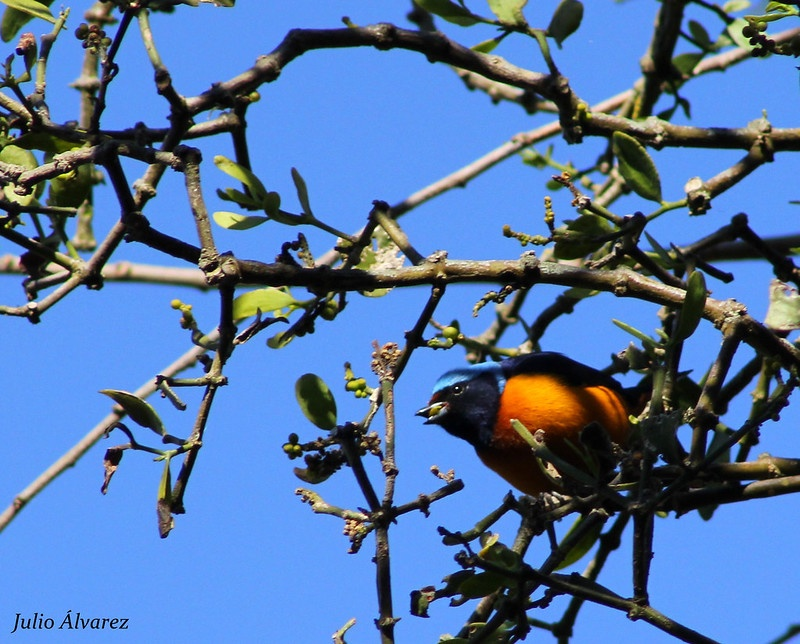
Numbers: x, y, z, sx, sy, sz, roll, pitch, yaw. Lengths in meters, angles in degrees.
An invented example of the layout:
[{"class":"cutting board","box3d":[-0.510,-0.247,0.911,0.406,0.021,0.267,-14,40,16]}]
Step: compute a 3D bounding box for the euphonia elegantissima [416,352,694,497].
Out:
[{"class":"euphonia elegantissima","box3d":[0.639,0.407,6.777,1.165,0.430,0.541,-24,-40,13]}]
